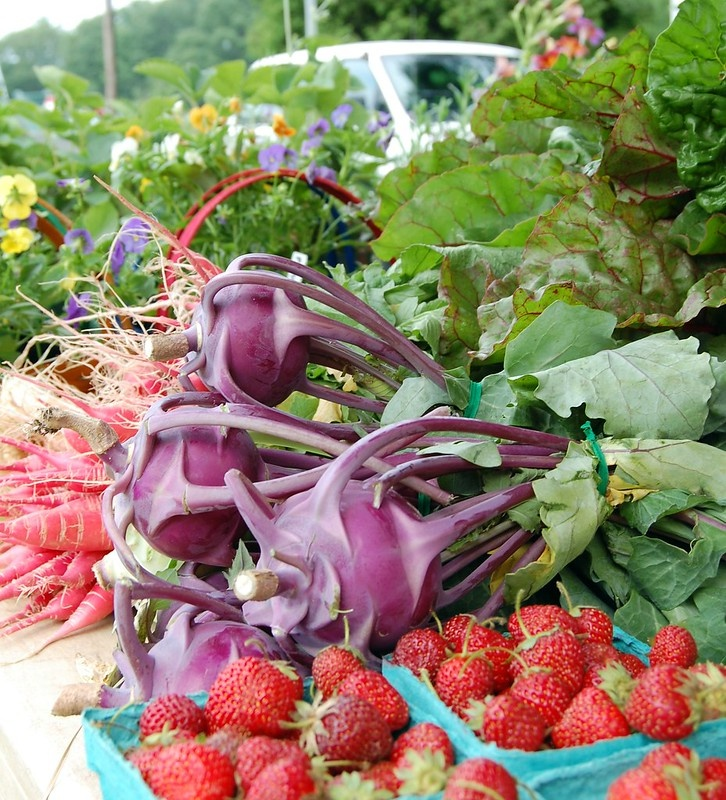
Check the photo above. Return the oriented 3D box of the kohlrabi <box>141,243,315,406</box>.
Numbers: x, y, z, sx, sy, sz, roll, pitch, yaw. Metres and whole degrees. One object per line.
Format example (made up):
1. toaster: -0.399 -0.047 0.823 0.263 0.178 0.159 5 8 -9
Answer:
1. kohlrabi: -0.124 -0.065 0.912 0.256 0.169 0.162 3 -10 -3

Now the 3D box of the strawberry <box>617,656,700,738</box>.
1. strawberry: 0.223 0.227 0.557 0.040 0.044 0.042 36 7 -12

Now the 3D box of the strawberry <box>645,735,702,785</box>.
1. strawberry: 0.211 0.247 0.514 0.031 0.025 0.023 -38 15 18
